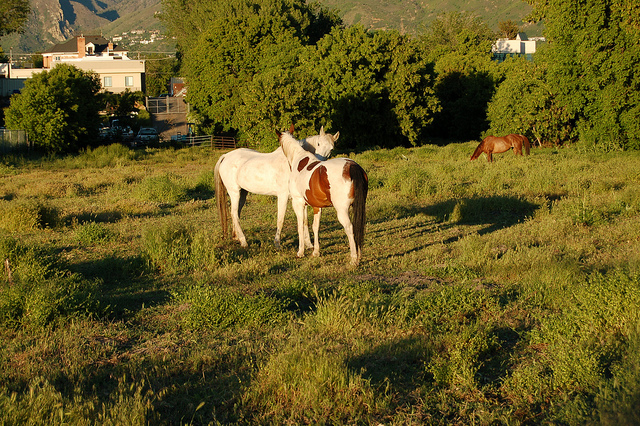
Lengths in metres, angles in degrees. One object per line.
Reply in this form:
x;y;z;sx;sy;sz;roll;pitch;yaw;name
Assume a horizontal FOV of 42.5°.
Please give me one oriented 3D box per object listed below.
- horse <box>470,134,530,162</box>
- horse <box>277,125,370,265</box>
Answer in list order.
12.790;-4.627;57.948;3.924;1.705;2.886;-9;15;-14;horse
0.092;-0.668;43.526;2.084;7.012;6.635;-7;12;-39;horse
